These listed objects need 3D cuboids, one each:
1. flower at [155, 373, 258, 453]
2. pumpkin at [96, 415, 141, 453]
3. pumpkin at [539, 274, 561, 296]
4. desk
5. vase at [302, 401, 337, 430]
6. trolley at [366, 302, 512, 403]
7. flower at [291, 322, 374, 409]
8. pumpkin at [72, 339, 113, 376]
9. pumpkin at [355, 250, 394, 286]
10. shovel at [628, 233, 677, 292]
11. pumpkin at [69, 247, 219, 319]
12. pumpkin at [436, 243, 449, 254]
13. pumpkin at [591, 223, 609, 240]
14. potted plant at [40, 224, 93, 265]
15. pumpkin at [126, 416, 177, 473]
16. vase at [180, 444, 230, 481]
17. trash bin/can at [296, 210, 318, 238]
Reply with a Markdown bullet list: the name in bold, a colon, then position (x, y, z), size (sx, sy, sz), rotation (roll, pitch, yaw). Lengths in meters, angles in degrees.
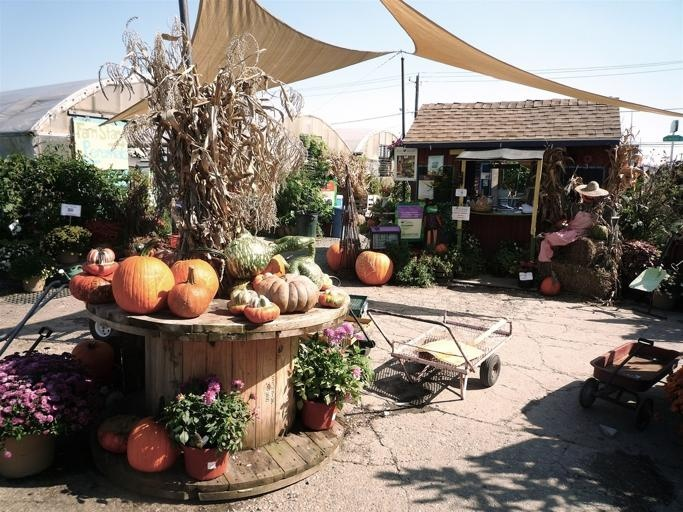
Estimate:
- **flower**: position (-1.076, 1.288, 3.725), size (0.637, 0.482, 0.641), rotation (6, 0, -3)
- **pumpkin**: position (-1.976, 1.523, 4.064), size (0.315, 0.146, 0.331), rotation (6, 40, -1)
- **pumpkin**: position (4.205, 0.586, 9.394), size (0.354, 0.497, 0.361), rotation (6, 10, 39)
- **desk**: position (-1.188, 1.246, 4.592), size (2.002, 1.670, 1.895), rotation (1, 8, -20)
- **vase**: position (-0.228, 1.524, 4.407), size (0.294, 0.231, 0.299), rotation (2, 0, 4)
- **trolley**: position (1.360, 1.128, 5.820), size (1.089, 1.083, 1.926), rotation (-1, 7, 41)
- **flower**: position (-0.075, 1.095, 4.535), size (0.690, 0.870, 0.732), rotation (7, 7, 44)
- **pumpkin**: position (-2.562, 0.999, 4.793), size (0.353, 0.436, 0.356), rotation (3, -1, 11)
- **pumpkin**: position (0.652, 0.244, 9.893), size (0.709, 0.676, 0.704), rotation (0, 3, -33)
- **shovel**: position (5.457, 0.215, 8.123), size (0.713, 1.147, 0.797), rotation (5, 7, 7)
- **pumpkin**: position (-1.690, 0.223, 3.953), size (1.224, 0.459, 0.526), rotation (4, 14, 12)
- **pumpkin**: position (2.297, -0.141, 10.683), size (0.302, 0.215, 0.274), rotation (2, 13, 2)
- **pumpkin**: position (5.120, -0.475, 9.166), size (0.272, 0.289, 0.282), rotation (-2, 0, 42)
- **potted plant**: position (-5.729, -0.233, 9.676), size (0.877, 0.799, 0.726), rotation (0, 9, -29)
- **pumpkin**: position (-1.555, 1.534, 3.894), size (0.376, 0.390, 0.380), rotation (10, 6, 42)
- **vase**: position (-1.110, 1.655, 3.737), size (0.305, 0.296, 0.111), rotation (1, 14, -2)
- **trash bin/can**: position (-1.091, -0.938, 14.761), size (0.961, 0.870, 0.919), rotation (0, 1, -6)
